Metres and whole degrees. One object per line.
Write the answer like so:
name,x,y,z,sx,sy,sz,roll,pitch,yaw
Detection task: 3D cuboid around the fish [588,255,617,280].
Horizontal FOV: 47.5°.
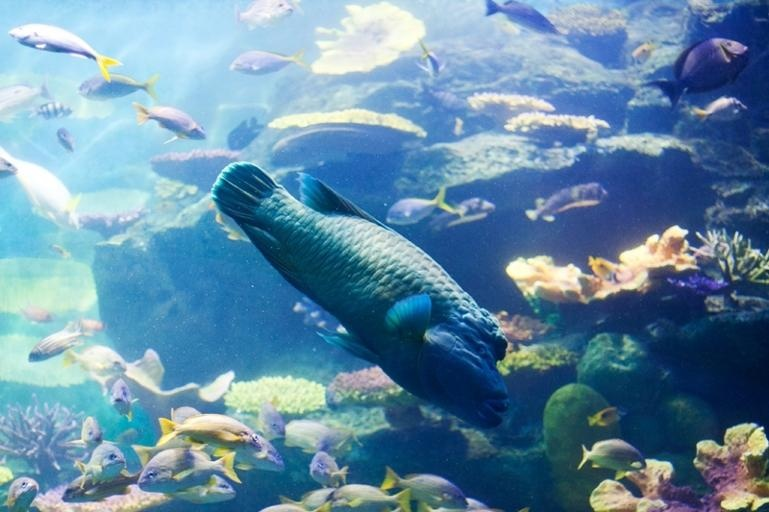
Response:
fish,5.801,0.298,23.250,0.444,0.723,0.242,-54,-13,13
